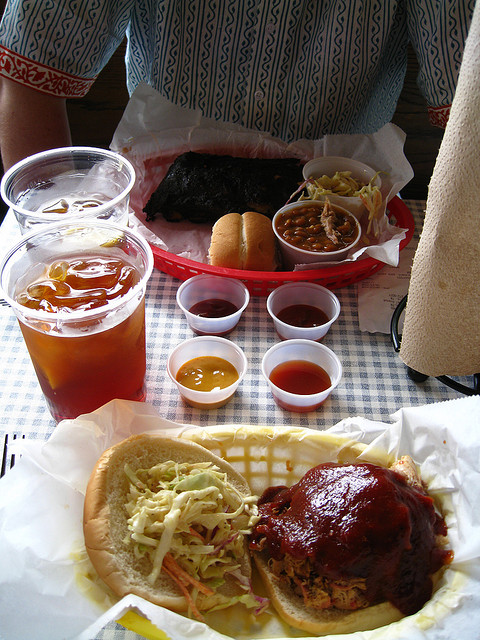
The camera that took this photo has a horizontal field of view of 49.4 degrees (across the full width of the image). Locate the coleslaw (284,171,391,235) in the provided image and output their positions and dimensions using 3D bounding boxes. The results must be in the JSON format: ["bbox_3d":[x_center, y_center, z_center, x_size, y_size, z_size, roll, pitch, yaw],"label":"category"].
[{"bbox_3d":[0.266,-0.368,1.499,0.219,0.162,0.217,-19,57,-15],"label":"coleslaw"}]

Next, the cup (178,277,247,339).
[{"bbox_3d":[-0.063,-0.028,1.223,0.163,0.071,0.148,1,44,-1],"label":"cup"}]

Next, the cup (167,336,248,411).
[{"bbox_3d":[-0.068,0.114,1.075,0.158,0.092,0.146,0,41,0],"label":"cup"}]

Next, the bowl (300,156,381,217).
[{"bbox_3d":[0.300,-0.392,1.523,0.209,0.095,0.196,1,50,-1],"label":"bowl"}]

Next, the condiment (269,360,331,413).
[{"bbox_3d":[0.120,0.139,1.091,0.121,0.042,0.123,19,44,21],"label":"condiment"}]

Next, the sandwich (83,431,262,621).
[{"bbox_3d":[-0.094,0.297,0.785,0.250,0.163,0.265,0,41,0],"label":"sandwich"}]

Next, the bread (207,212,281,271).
[{"bbox_3d":[0.012,-0.188,1.358,0.176,0.089,0.173,-1,56,2],"label":"bread"}]

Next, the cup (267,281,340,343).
[{"bbox_3d":[0.147,-0.025,1.236,0.205,0.138,0.122,-4,23,4],"label":"cup"}]

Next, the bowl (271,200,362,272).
[{"bbox_3d":[0.195,-0.240,1.364,0.232,0.133,0.211,0,49,0],"label":"bowl"}]

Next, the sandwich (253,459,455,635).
[{"bbox_3d":[0.159,0.313,0.735,0.283,0.164,0.213,5,42,6],"label":"sandwich"}]

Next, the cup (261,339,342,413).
[{"bbox_3d":[0.136,0.108,1.116,0.158,0.144,0.171,-1,22,1],"label":"cup"}]
